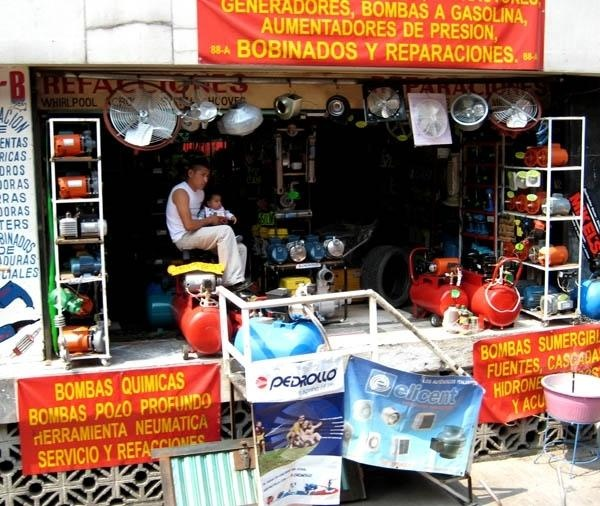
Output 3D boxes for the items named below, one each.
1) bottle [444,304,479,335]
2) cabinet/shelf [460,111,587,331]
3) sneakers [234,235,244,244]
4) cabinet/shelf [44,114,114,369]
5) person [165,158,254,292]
[{"bbox_3d":[1.914,0.816,7.609,0.247,0.412,0.415,-2,3,-31],"label":"bottle"},{"bbox_3d":[3.120,-0.446,8.238,1.183,2.606,1.327,0,7,35],"label":"cabinet/shelf"},{"bbox_3d":[-0.799,-0.173,8.348,0.059,0.063,0.158,-21,-7,-34],"label":"sneakers"},{"bbox_3d":[-2.441,-0.178,6.958,0.708,2.668,1.326,-6,6,-17],"label":"cabinet/shelf"},{"bbox_3d":[-1.132,-0.351,7.916,0.923,1.583,0.756,-1,6,30],"label":"person"}]
